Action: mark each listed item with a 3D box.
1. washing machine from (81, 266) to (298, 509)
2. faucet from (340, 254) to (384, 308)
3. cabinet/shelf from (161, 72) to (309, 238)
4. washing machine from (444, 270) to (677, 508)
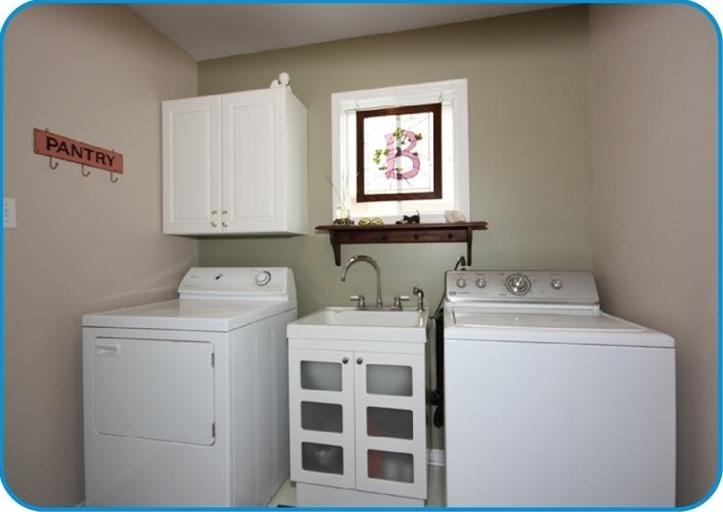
[{"bbox_3d":[-1.016,0.847,3.652,1.169,1.703,1.211,-2,-7,14],"label":"washing machine"},{"bbox_3d":[0.009,0.170,3.757,0.280,0.358,0.249,0,2,-1],"label":"faucet"},{"bbox_3d":[-0.880,-0.609,3.896,1.007,0.970,0.484,0,1,17],"label":"cabinet/shelf"},{"bbox_3d":[1.025,0.690,3.080,1.124,1.183,0.695,0,3,6],"label":"washing machine"}]
